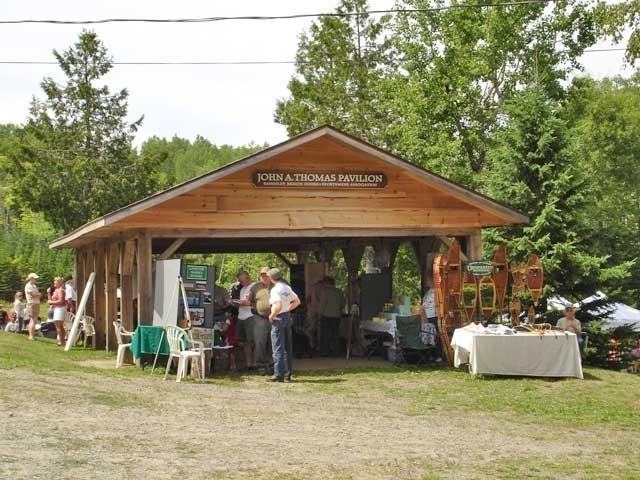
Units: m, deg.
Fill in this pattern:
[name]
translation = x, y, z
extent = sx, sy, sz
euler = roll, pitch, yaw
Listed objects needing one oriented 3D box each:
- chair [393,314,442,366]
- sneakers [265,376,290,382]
[chair]
translation = 2.705, 2.534, 23.877
extent = 1.237, 1.713, 1.217
euler = 1, -18, -10
[sneakers]
translation = -0.969, 3.234, 21.455
extent = 0.482, 0.202, 0.197
euler = 6, -7, -15
